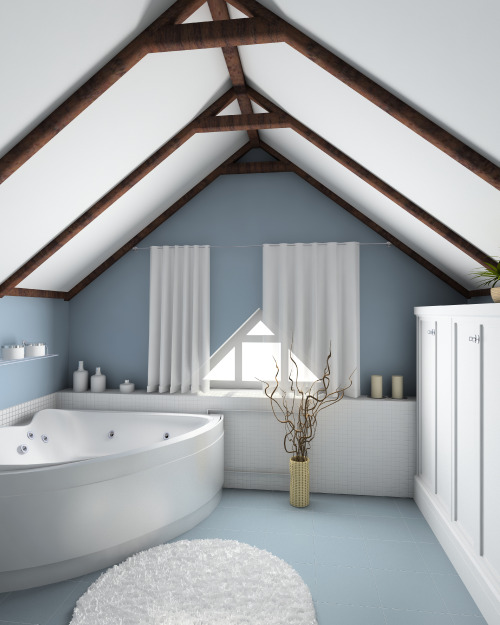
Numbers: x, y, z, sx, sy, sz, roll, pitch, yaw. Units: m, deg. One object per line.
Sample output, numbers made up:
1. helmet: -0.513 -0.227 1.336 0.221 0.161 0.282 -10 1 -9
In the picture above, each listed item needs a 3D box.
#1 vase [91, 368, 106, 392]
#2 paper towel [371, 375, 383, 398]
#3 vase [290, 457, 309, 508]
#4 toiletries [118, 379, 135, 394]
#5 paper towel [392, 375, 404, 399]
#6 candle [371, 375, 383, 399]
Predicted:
1. vase: -1.313 0.583 4.435 0.118 0.144 0.119 1 1 -18
2. paper towel: 1.002 0.588 4.091 0.092 0.167 0.192 1 1 14
3. vase: 0.355 1.252 3.765 0.130 0.298 0.115 1 1 26
4. toiletries: -1.064 0.634 4.400 0.102 0.105 0.102 1 4 4
5. paper towel: 1.154 0.586 3.994 0.108 0.177 0.102 1 1 -12
6. candle: 1.002 0.588 4.091 0.092 0.167 0.192 1 1 14
